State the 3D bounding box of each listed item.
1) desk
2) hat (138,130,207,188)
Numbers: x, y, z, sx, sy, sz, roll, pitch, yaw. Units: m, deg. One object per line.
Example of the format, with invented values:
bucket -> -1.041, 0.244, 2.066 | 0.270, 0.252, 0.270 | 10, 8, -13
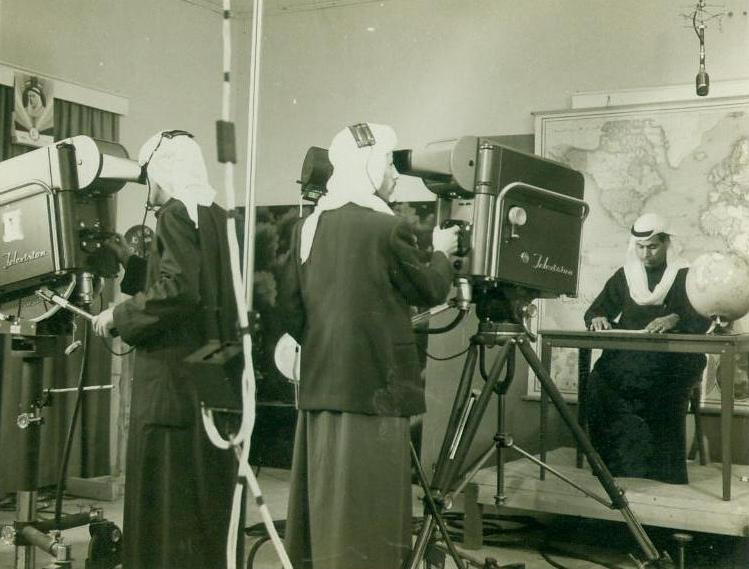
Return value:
desk -> 0.590, 0.339, 2.521 | 0.445, 0.400, 0.356 | -1, -3, 30
hat -> -0.439, -0.273, 2.494 | 0.136, 0.084, 0.101 | 28, 18, 34
